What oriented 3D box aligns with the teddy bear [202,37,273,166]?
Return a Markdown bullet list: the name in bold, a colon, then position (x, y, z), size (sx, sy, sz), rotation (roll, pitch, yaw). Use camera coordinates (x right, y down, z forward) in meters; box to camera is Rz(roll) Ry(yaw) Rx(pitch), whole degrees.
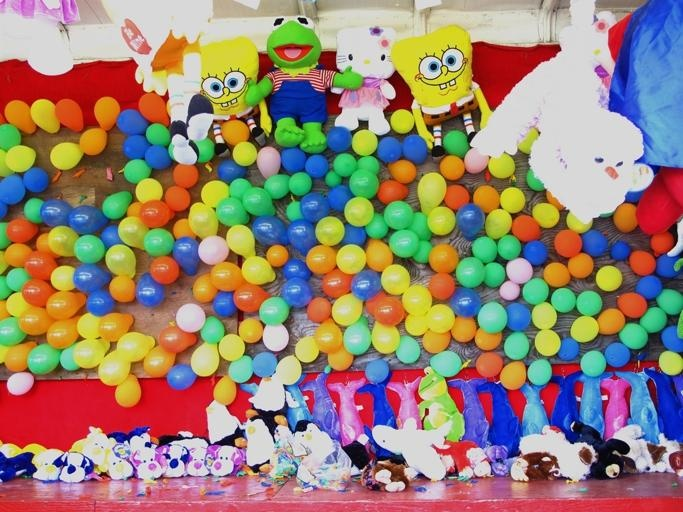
- **teddy bear**: position (-0.675, -0.954, 4.321), size (0.404, 0.365, 0.615), rotation (-15, -51, -7)
